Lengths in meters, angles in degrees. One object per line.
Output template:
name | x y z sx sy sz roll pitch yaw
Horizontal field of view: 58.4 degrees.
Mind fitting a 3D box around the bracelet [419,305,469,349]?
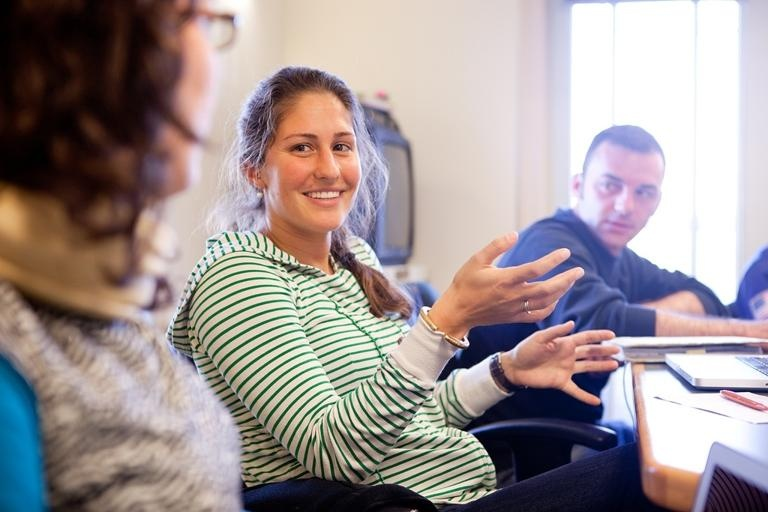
bracelet | 0.100 0.121 1.238 0.072 0.030 0.081 35 6 -35

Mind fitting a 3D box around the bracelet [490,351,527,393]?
bracelet | 0.254 0.256 1.496 0.029 0.079 0.075 -30 36 -5

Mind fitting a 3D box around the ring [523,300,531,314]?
ring | 0.264 0.094 1.275 0.019 0.025 0.009 -8 8 -41
